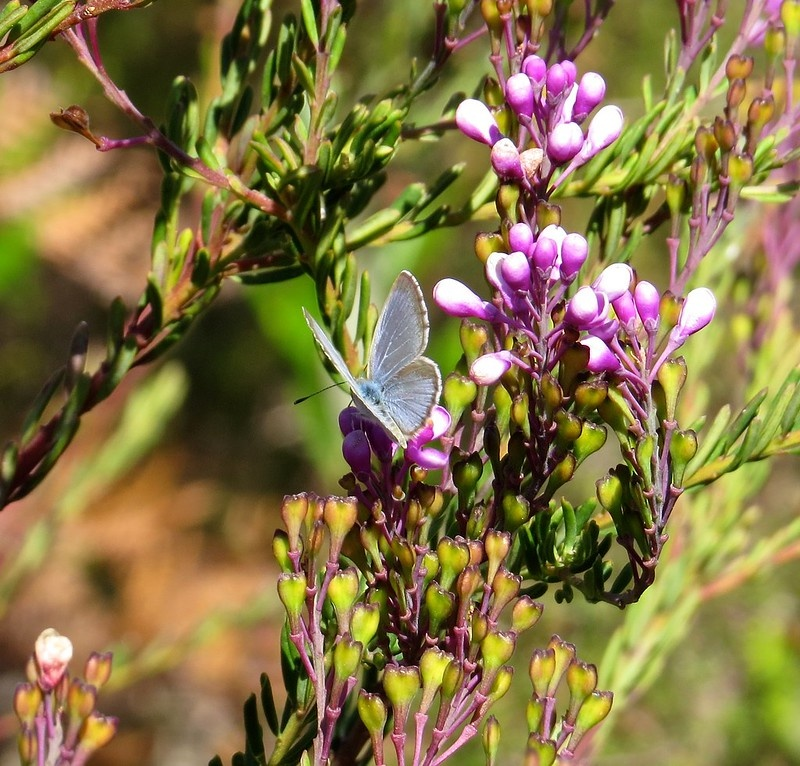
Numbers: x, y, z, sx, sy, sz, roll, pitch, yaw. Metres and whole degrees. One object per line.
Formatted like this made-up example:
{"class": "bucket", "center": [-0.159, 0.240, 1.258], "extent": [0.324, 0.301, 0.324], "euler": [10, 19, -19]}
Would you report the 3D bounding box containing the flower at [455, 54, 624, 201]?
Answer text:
{"class": "flower", "center": [0.184, -0.361, 1.630], "extent": [0.162, 0.232, 0.219], "euler": [-4, 47, -5]}
